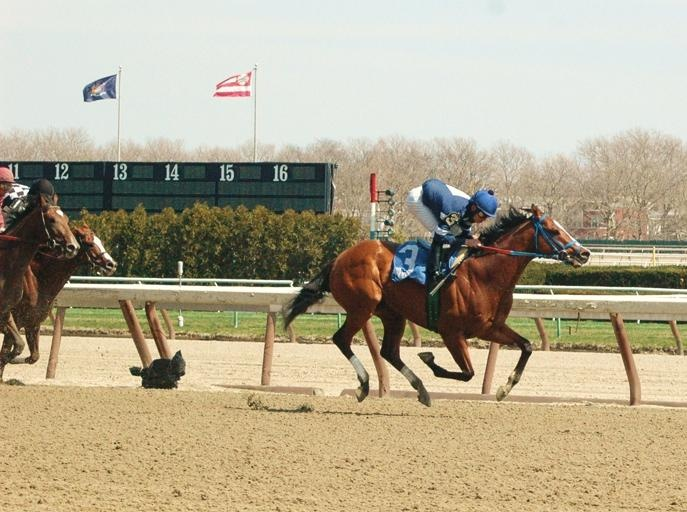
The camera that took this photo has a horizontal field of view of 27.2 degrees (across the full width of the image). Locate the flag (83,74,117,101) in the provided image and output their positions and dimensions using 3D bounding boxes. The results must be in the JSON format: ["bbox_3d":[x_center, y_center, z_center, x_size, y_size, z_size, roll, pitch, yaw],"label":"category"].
[{"bbox_3d":[-5.626,-3.871,32.756,0.715,0.580,1.596,-1,7,-11],"label":"flag"}]

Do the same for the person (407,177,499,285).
[{"bbox_3d":[1.074,-0.365,15.723,0.537,1.288,0.926,-7,40,-48],"label":"person"}]

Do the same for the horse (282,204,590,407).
[{"bbox_3d":[1.125,0.515,15.437,2.588,2.168,0.599,2,6,11],"label":"horse"}]

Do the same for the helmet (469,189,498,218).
[{"bbox_3d":[1.517,-0.618,15.400,0.240,0.196,0.295,6,34,-51],"label":"helmet"}]

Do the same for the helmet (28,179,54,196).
[{"bbox_3d":[-3.424,-0.776,16.039,0.288,0.184,0.246,-1,6,-15],"label":"helmet"}]

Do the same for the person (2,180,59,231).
[{"bbox_3d":[-3.676,-0.627,16.370,0.519,0.566,1.109,-2,7,-24],"label":"person"}]
